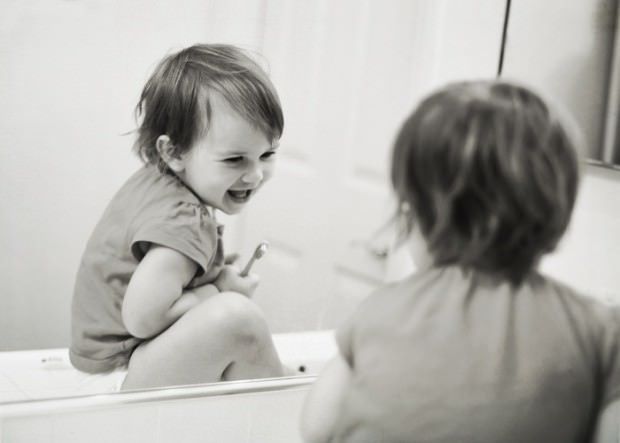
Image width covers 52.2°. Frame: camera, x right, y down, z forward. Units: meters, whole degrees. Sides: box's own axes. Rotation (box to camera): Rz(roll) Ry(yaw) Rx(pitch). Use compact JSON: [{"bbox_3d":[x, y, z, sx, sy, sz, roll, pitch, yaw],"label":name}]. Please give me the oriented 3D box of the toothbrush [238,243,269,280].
[{"bbox_3d":[-0.154,0.101,1.743,0.040,0.136,0.028,43,-7,-22],"label":"toothbrush"}]
